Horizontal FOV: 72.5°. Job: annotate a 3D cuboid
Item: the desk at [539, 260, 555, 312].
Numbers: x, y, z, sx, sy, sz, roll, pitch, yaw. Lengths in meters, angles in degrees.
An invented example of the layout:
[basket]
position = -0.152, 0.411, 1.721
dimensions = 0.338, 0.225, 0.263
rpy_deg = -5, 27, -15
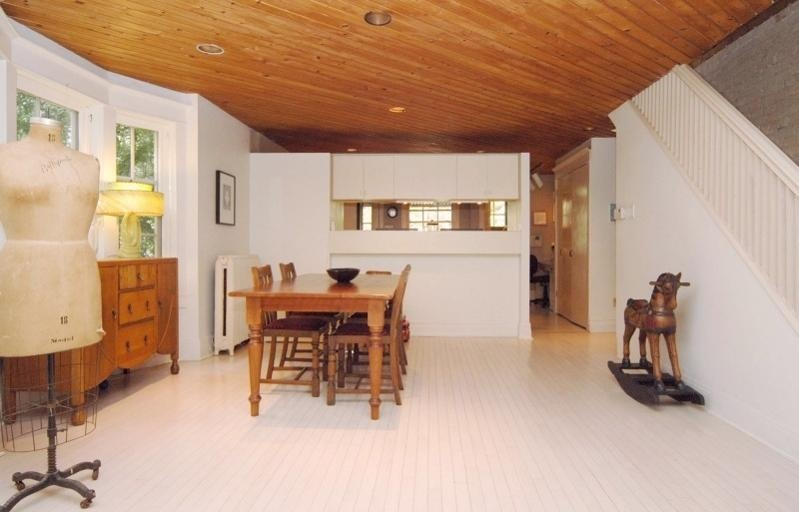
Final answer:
[desk]
position = 2.655, 0.518, 9.771
dimensions = 0.338, 0.723, 0.887
rpy_deg = 1, -1, 16

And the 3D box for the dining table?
[dining table]
position = -0.681, 0.798, 4.920
dimensions = 1.341, 1.159, 0.965
rpy_deg = -1, 0, 0

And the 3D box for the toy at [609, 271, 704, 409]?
[toy]
position = 2.328, 0.726, 4.982
dimensions = 0.512, 0.843, 0.679
rpy_deg = -1, 0, -19

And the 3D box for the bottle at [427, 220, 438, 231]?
[bottle]
position = 0.471, -0.445, 7.726
dimensions = 0.148, 0.148, 0.149
rpy_deg = 4, 2, 25

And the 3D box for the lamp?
[lamp]
position = -2.539, -0.334, 5.355
dimensions = 0.701, 0.768, 0.688
rpy_deg = -1, -3, 26
